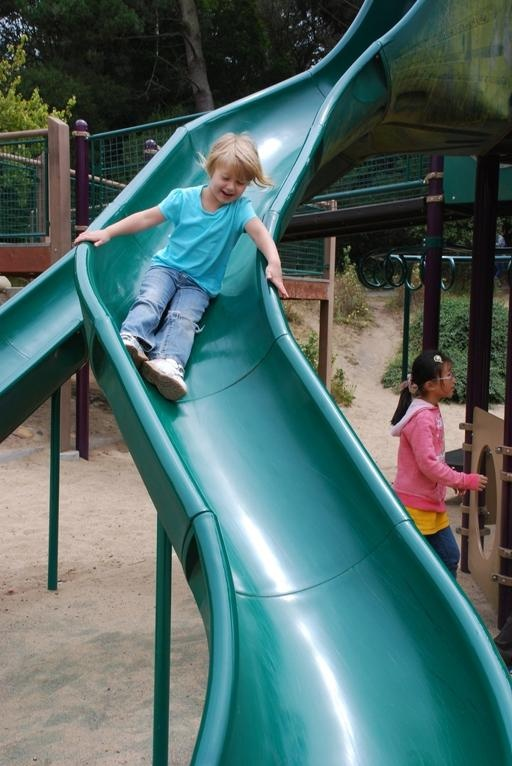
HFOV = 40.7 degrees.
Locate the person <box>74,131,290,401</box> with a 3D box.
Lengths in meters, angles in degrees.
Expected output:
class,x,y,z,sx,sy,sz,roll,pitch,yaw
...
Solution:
class,x,y,z,sx,sy,sz,roll,pitch,yaw
person,-0.290,-0.517,2.691,0.730,0.441,1.232,22,57,-2
